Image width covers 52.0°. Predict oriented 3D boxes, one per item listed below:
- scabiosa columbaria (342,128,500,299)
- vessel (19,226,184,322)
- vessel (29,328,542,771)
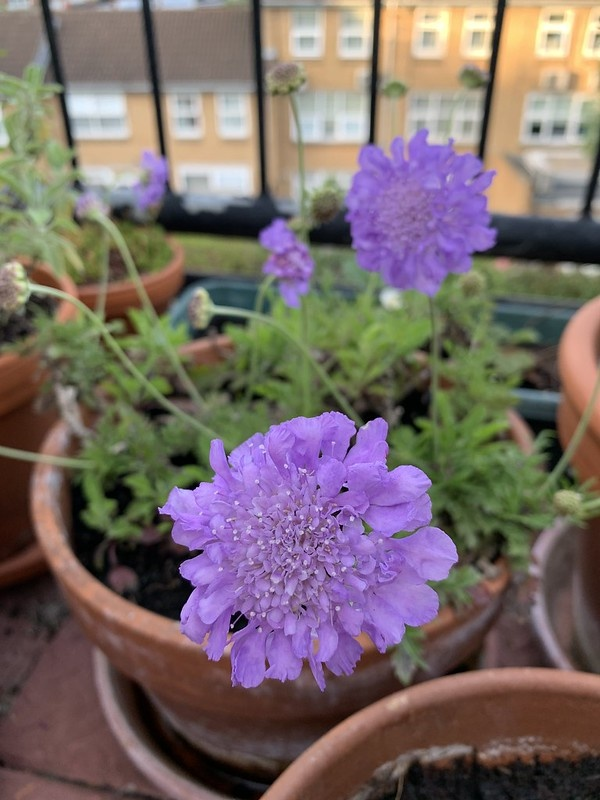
[{"bbox_3d":[0.093,-0.142,0.468,0.108,0.115,0.040,5,33,13],"label":"scabiosa columbaria"},{"bbox_3d":[-0.355,-0.299,1.281,0.218,0.150,0.212,-6,38,-2],"label":"vessel"},{"bbox_3d":[-0.067,0.152,0.758,0.426,0.266,0.418,-2,36,-1],"label":"vessel"}]
